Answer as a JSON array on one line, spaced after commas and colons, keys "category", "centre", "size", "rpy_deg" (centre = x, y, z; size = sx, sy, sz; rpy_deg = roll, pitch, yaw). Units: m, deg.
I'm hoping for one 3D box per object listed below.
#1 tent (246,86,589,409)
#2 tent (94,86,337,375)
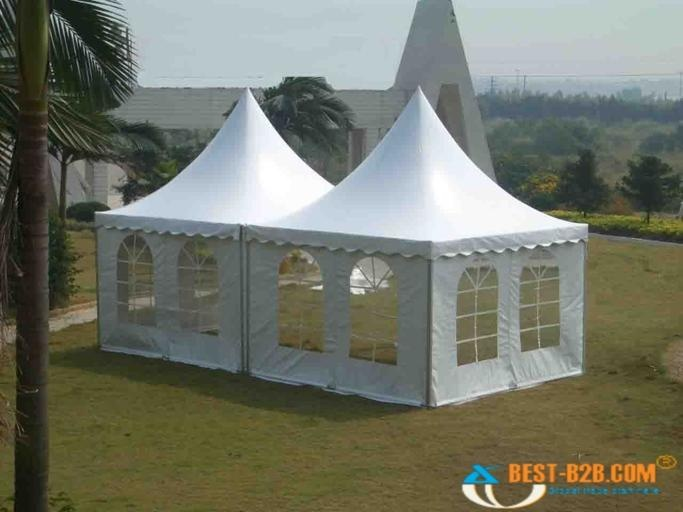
[{"category": "tent", "centre": [1.802, 0.098, 29.746], "size": [7.131, 5.814, 2.825], "rpy_deg": [7, 10, 10]}, {"category": "tent", "centre": [-2.741, 0.115, 32.287], "size": [6.010, 7.118, 5.091], "rpy_deg": [10, 12, 40]}]
